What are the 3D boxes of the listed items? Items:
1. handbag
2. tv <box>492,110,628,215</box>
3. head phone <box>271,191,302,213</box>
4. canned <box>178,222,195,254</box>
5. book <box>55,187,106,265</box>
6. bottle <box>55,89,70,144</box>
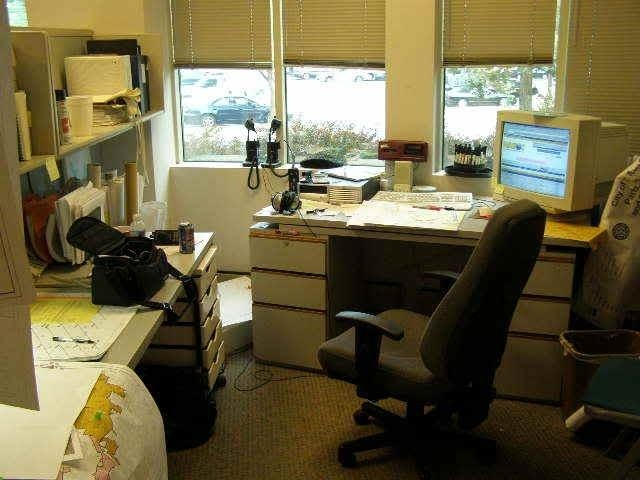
[{"bbox_3d":[-0.800,0.116,2.303,0.543,0.320,0.484,5,15,-14],"label":"handbag"},{"bbox_3d":[1.350,-0.451,3.066,0.478,0.517,0.612,-8,19,-30],"label":"tv"},{"bbox_3d":[-0.203,-0.220,3.108,0.121,0.100,0.142,2,13,8],"label":"head phone"},{"bbox_3d":[-0.669,-0.008,2.685,0.079,0.137,0.085,7,12,41],"label":"canned"},{"bbox_3d":[-1.071,-0.051,2.379,0.092,0.283,0.283,6,21,5],"label":"book"},{"bbox_3d":[-1.092,-0.517,2.263,0.037,0.215,0.234,-8,20,-19],"label":"bottle"}]
